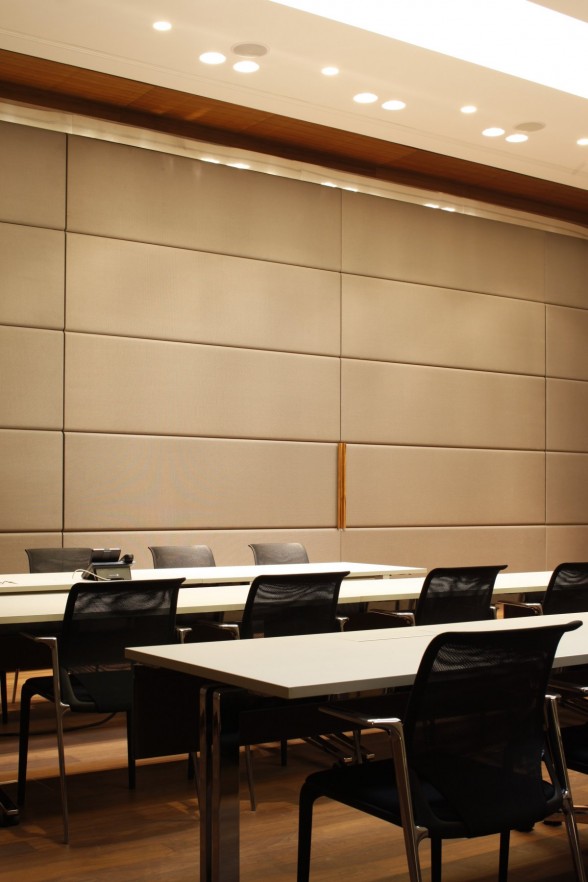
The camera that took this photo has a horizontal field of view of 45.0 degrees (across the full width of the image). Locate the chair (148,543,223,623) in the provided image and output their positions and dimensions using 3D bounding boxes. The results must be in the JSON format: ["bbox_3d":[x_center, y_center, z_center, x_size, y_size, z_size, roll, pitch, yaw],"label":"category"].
[{"bbox_3d":[-0.760,0.899,4.825,0.321,0.446,0.321,2,-5,-24],"label":"chair"}]
